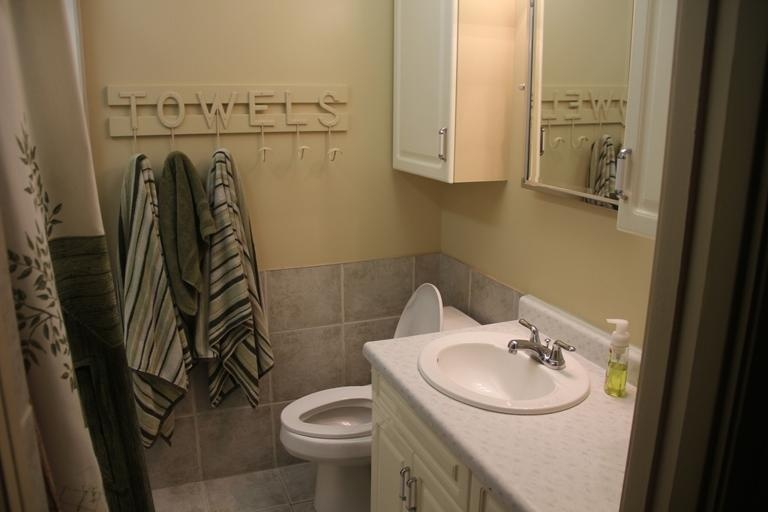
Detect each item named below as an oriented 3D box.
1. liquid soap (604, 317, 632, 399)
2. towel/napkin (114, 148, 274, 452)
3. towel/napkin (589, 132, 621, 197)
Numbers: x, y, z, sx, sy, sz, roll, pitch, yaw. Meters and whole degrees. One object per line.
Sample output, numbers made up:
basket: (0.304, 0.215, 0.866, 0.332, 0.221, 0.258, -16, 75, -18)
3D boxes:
liquid soap: (0.645, 0.259, 1.580, 0.063, 0.211, 0.174, 6, 20, 24)
towel/napkin: (-0.745, 0.164, 2.250, 0.535, 1.113, 0.283, -10, 20, -21)
towel/napkin: (0.595, -0.248, 1.535, 0.036, 0.190, 0.140, -7, 23, -6)
